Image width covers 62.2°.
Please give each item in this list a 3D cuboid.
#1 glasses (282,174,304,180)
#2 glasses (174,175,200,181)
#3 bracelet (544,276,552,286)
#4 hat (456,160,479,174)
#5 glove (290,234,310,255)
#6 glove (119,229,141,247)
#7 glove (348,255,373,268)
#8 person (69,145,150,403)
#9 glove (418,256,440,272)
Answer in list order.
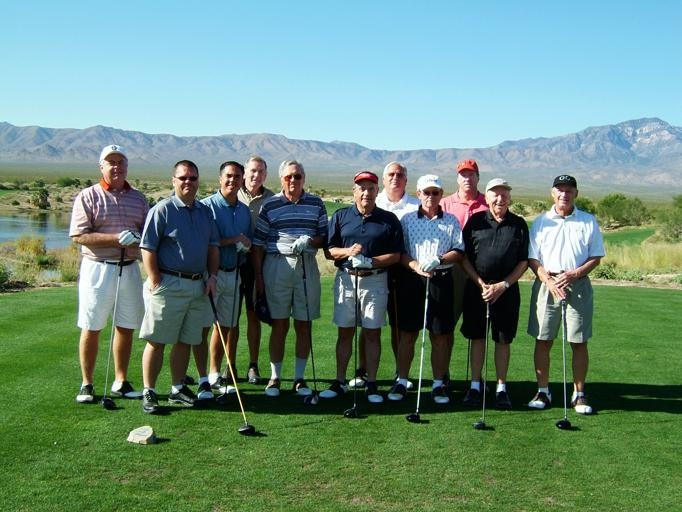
[{"bbox_3d":[-0.614,-1.063,7.490,0.296,0.074,0.169,-2,8,-26],"label":"glasses"},{"bbox_3d":[-1.826,-0.936,6.745,0.247,0.068,0.107,-3,9,-33],"label":"glasses"},{"bbox_3d":[2.602,0.296,7.039,0.080,0.082,0.082,-8,-21,-45],"label":"bracelet"},{"bbox_3d":[1.842,-1.346,8.150,0.312,0.225,0.511,-1,-3,12],"label":"hat"},{"bbox_3d":[-0.532,-0.150,7.495,0.258,0.259,0.276,1,8,-4],"label":"glove"},{"bbox_3d":[-2.549,-0.213,6.797,0.245,0.224,0.410,-2,8,-22],"label":"glove"},{"bbox_3d":[0.255,0.066,7.235,0.292,0.193,0.334,1,7,-1],"label":"glove"},{"bbox_3d":[-2.846,0.193,6.960,0.856,3.076,0.690,-2,9,-25],"label":"person"},{"bbox_3d":[1.145,0.103,7.094,0.275,0.198,0.231,0,8,-11],"label":"glove"}]
